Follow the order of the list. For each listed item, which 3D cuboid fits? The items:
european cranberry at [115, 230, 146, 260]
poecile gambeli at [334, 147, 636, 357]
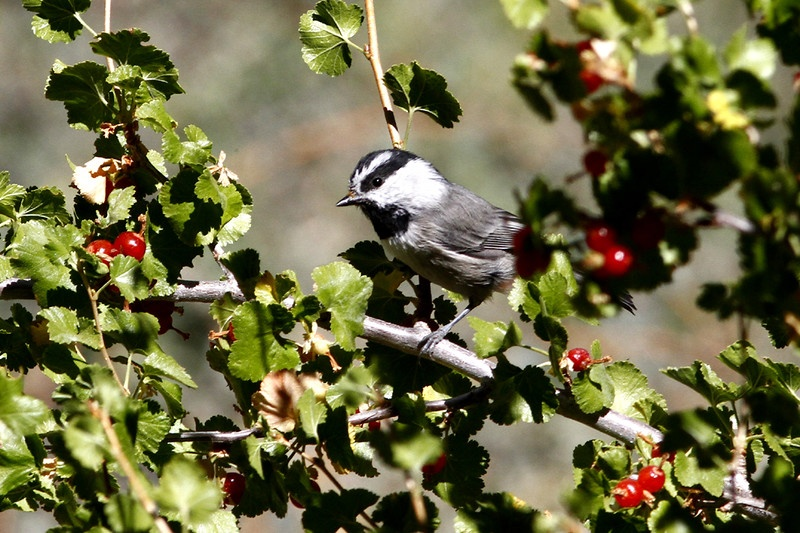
[{"bbox_3d":[-1.027,-0.077,3.896,0.104,0.131,0.110,-2,-42,-24],"label":"european cranberry"},{"bbox_3d":[0.439,-0.197,6.031,1.165,1.352,1.781,0,0,23],"label":"poecile gambeli"}]
